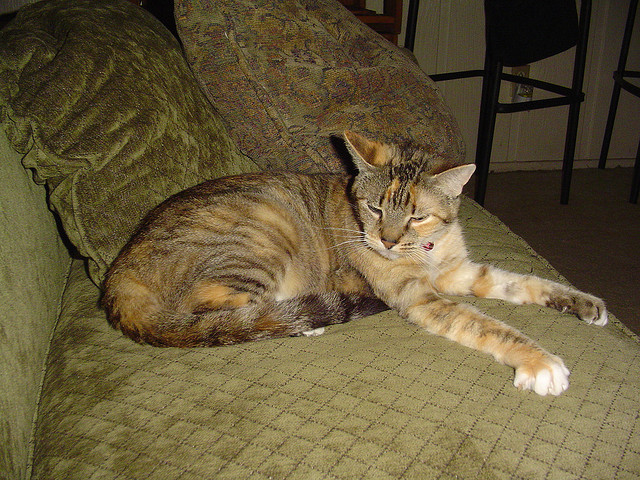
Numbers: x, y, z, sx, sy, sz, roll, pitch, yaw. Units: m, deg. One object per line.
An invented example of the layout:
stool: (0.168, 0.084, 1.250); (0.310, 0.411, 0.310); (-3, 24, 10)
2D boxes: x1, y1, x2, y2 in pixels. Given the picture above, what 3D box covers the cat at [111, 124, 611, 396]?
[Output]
cat: (0.032, 0.081, 1.509); (1.400, 0.540, 0.735); (4, 7, -5)
